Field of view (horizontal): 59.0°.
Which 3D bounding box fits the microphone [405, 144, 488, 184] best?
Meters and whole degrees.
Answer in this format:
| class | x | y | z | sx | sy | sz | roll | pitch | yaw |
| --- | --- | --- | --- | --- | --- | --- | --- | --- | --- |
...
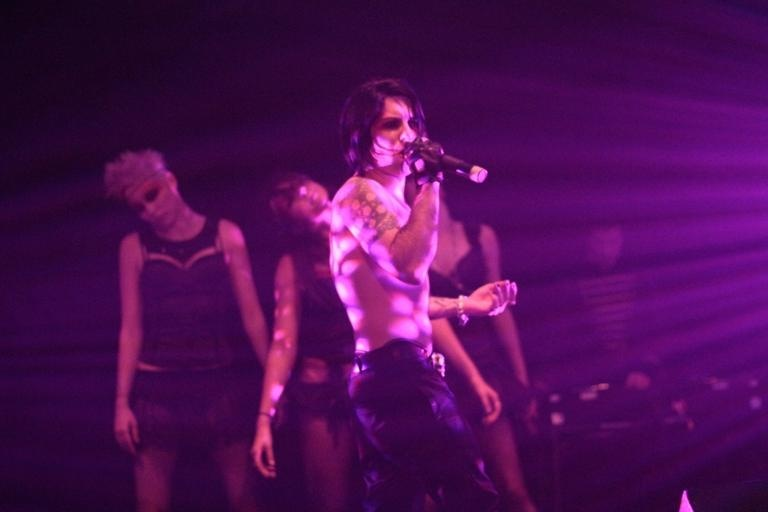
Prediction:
| class | x | y | z | sx | sy | sz | roll | pitch | yaw |
| --- | --- | --- | --- | --- | --- | --- | --- | --- | --- |
| microphone | 0.302 | -0.456 | 3.442 | 0.178 | 0.448 | 0.150 | -27 | -57 | -33 |
